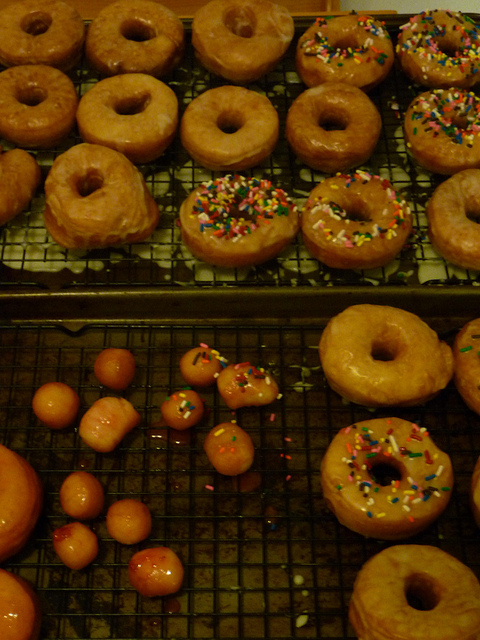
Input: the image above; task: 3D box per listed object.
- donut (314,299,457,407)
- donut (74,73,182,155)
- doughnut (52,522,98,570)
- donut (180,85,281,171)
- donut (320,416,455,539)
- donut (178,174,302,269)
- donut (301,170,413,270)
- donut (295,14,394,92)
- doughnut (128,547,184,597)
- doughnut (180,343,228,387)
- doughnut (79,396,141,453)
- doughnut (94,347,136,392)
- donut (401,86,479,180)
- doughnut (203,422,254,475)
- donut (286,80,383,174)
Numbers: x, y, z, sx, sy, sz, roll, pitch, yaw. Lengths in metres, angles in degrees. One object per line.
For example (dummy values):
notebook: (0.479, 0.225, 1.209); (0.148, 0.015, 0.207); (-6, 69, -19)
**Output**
donut: (0.409, 0.110, 1.774); (0.421, 0.124, 0.338); (4, 49, -3)
donut: (-0.395, -0.705, 2.058); (0.385, 0.184, 0.305); (-6, 47, -5)
doughnut: (-0.421, 0.575, 1.511); (0.100, 0.064, 0.119); (-28, 60, -23)
donut: (-0.040, -0.659, 2.093); (0.340, 0.211, 0.315); (-10, 48, -8)
donut: (0.391, 0.422, 1.589); (0.345, 0.156, 0.292); (-2, 47, 0)
donut: (-0.010, -0.314, 1.922); (0.374, 0.200, 0.295); (16, 50, 16)
donut: (0.394, -0.329, 1.954); (0.358, 0.143, 0.345); (1, 56, 9)
donut: (0.397, -1.022, 2.263); (0.371, 0.182, 0.362); (2, 47, 3)
doughnut: (-0.217, 0.642, 1.476); (0.139, 0.086, 0.157); (5, 26, -13)
doughnut: (-0.118, 0.136, 1.818); (0.128, 0.074, 0.122); (1, 62, -2)
doughnut: (-0.368, 0.283, 1.650); (0.153, 0.088, 0.158); (43, 72, -5)
doughnut: (-0.366, 0.147, 1.726); (0.120, 0.068, 0.120); (-3, 83, -12)
donut: (0.725, -0.639, 2.175); (0.331, 0.121, 0.307); (-7, 64, 0)
doughnut: (-0.029, 0.360, 1.626); (0.130, 0.079, 0.148); (-22, 63, -7)
donut: (0.332, -0.692, 2.132); (0.333, 0.224, 0.341); (-6, 47, -5)
